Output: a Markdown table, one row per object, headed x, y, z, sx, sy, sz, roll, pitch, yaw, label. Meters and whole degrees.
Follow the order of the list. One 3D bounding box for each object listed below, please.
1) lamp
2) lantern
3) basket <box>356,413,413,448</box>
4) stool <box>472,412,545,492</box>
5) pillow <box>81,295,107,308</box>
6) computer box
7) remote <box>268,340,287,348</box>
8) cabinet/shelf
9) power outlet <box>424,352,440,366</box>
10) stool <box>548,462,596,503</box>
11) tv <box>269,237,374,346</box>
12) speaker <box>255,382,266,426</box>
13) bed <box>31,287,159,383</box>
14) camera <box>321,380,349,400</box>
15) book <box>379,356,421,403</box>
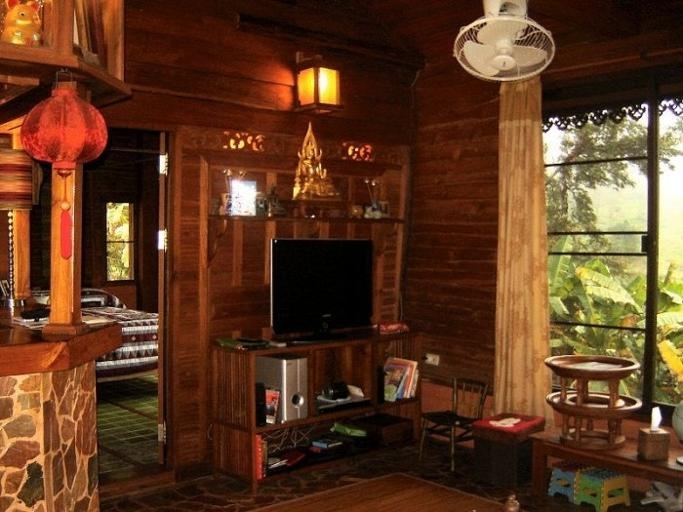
| x | y | z | sx | sy | sz | roll | pitch | yaw | label |
| --- | --- | --- | --- | --- | --- | --- | --- | --- | --- |
| -0.207 | -1.515 | 4.674 | 0.272 | 0.566 | 0.357 | -1 | 3 | -34 | lamp |
| -1.323 | -0.631 | 2.603 | 0.357 | 0.472 | 0.247 | 1 | 2 | -2 | lantern |
| 0.399 | 1.561 | 4.912 | 0.324 | 0.113 | 0.320 | 1 | -1 | -41 | basket |
| 1.235 | 1.498 | 4.274 | 0.580 | 0.444 | 0.557 | -1 | -1 | -40 | stool |
| -3.460 | 0.639 | 7.607 | 0.457 | 0.113 | 0.212 | 1 | 9 | -31 | pillow |
| -0.518 | 1.087 | 4.366 | 0.414 | 0.452 | 0.301 | -11 | -31 | 14 | computer box |
| -0.504 | 0.700 | 4.321 | 0.176 | 0.024 | 0.133 | 2 | 2 | 39 | remote |
| -0.257 | 1.260 | 4.478 | 1.522 | 0.649 | 0.397 | -2 | 2 | -41 | cabinet/shelf |
| 0.891 | 1.009 | 5.309 | 0.182 | 0.122 | 0.038 | 2 | 3 | 42 | power outlet |
| 1.633 | 1.610 | 3.924 | 0.283 | 0.201 | 0.273 | -6 | 7 | -41 | stool |
| -0.207 | 0.303 | 4.647 | 1.227 | 0.732 | 0.271 | -1 | 2 | -33 | tv |
| -0.620 | 1.127 | 4.157 | 0.077 | 0.309 | 0.140 | 0 | 2 | -9 | speaker |
| -2.865 | 1.024 | 6.838 | 2.189 | 0.708 | 1.408 | 4 | 6 | 43 | bed |
| -0.064 | 1.172 | 4.766 | 0.181 | 0.091 | 0.172 | 0 | 1 | -39 | camera |
| 0.529 | 1.128 | 4.909 | 0.422 | 0.320 | 0.123 | -2 | -7 | -4 | book |
